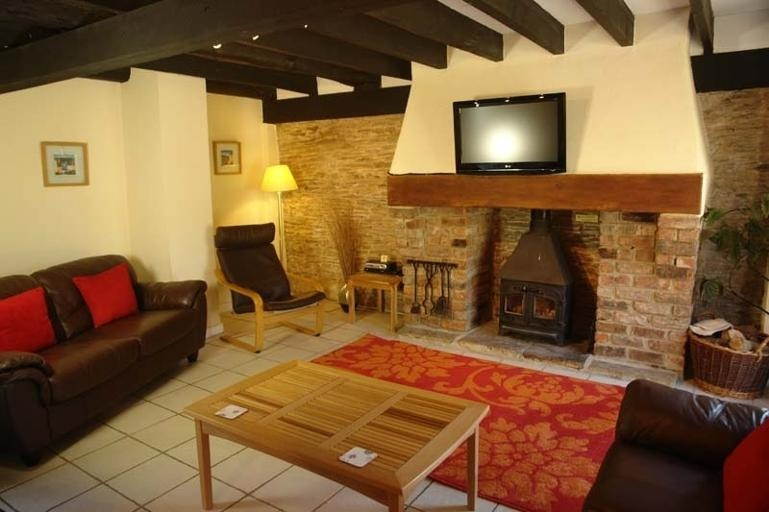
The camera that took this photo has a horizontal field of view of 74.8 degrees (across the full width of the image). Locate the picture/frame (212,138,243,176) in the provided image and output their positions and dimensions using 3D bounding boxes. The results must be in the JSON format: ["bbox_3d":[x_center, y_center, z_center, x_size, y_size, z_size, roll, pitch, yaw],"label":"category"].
[{"bbox_3d":[-2.042,-1.281,6.517,0.332,0.294,0.016,-7,16,-30],"label":"picture/frame"}]

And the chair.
[{"bbox_3d":[-1.384,0.303,5.859,1.082,1.298,1.056,-7,14,-27],"label":"chair"}]

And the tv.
[{"bbox_3d":[1.261,-1.209,4.898,1.021,0.605,0.098,1,12,25],"label":"tv"}]

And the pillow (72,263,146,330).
[{"bbox_3d":[-2.656,0.381,4.855,0.177,0.495,0.571,-20,3,30],"label":"pillow"}]

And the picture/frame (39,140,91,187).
[{"bbox_3d":[-3.257,-0.953,5.085,0.023,0.526,0.546,4,8,36],"label":"picture/frame"}]
